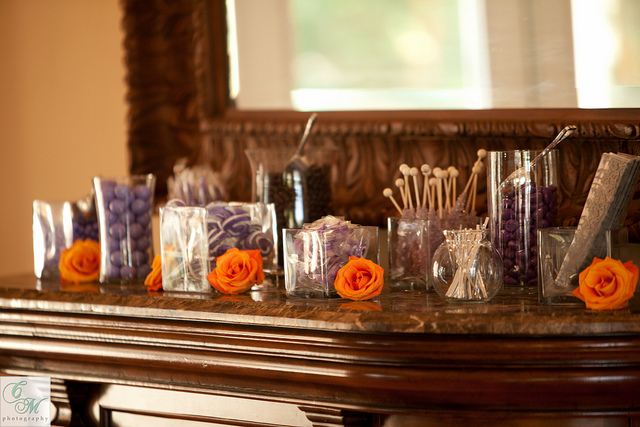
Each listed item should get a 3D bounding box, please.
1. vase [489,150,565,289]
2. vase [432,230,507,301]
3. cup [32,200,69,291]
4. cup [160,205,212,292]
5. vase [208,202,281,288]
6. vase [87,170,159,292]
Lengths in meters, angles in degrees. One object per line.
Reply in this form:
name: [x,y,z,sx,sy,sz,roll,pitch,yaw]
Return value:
vase: [0.415,0.004,1.251,0.151,0.270,0.105,-8,-26,13]
vase: [0.291,0.095,1.240,0.158,0.139,0.159,0,8,36]
cup: [-0.641,0.063,1.478,0.094,0.190,0.074,-2,-25,2]
cup: [-0.307,0.078,1.366,0.131,0.173,0.135,3,-3,0]
vase: [-0.168,0.091,1.450,0.175,0.239,0.181,-3,-14,-5]
vase: [-0.503,0.002,1.473,0.132,0.213,0.145,13,5,12]
